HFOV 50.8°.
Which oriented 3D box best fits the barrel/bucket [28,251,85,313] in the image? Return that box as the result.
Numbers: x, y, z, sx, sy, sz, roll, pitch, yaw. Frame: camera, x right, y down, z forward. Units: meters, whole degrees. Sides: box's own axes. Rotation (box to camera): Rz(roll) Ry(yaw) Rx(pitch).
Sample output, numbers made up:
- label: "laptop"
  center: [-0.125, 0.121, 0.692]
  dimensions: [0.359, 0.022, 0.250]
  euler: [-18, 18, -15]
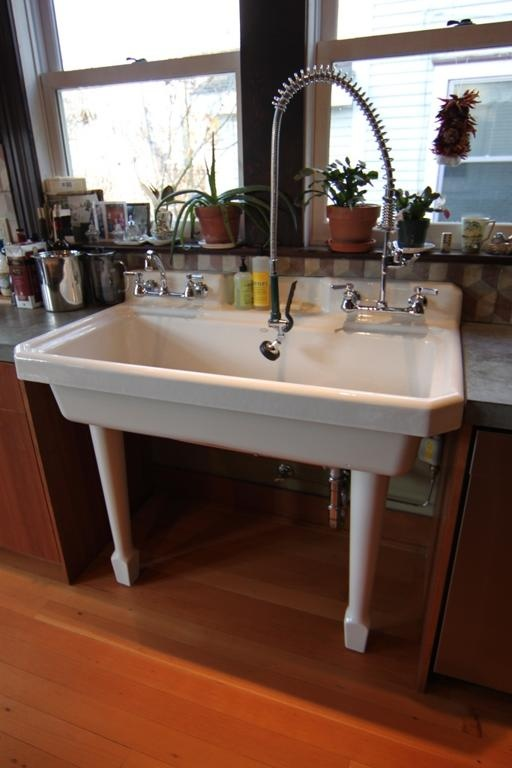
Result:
- label: "barrel/bucket"
  center: [-0.608, -0.319, 1.652]
  dimensions: [0.150, 0.176, 0.108]
  euler: [0, 23, -3]

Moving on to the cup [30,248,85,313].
- label: "cup"
  center: [-0.601, -0.318, 1.632]
  dimensions: [0.104, 0.156, 0.150]
  euler: [10, 25, 28]

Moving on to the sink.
- label: "sink"
  center: [-0.045, -0.030, 1.307]
  dimensions: [1.034, 0.238, 0.514]
  euler: [9, 27, 21]

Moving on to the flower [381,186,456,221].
- label: "flower"
  center: [0.436, -0.481, 1.445]
  dimensions: [0.157, 0.078, 0.169]
  euler: [18, 1, 26]

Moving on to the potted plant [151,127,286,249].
- label: "potted plant"
  center: [-0.103, -0.596, 1.689]
  dimensions: [0.398, 0.273, 0.311]
  euler: [9, 22, 34]

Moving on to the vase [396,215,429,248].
- label: "vase"
  center: [0.422, -0.423, 1.472]
  dimensions: [0.088, 0.070, 0.084]
  euler: [7, 21, 22]

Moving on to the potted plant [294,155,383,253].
- label: "potted plant"
  center: [0.218, -0.504, 1.523]
  dimensions: [0.211, 0.256, 0.288]
  euler: [0, 16, 10]

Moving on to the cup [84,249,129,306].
- label: "cup"
  center: [-0.468, -0.342, 1.699]
  dimensions: [0.144, 0.178, 0.107]
  euler: [6, 29, 13]

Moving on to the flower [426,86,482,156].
- label: "flower"
  center: [0.498, -0.654, 1.361]
  dimensions: [0.094, 0.153, 0.087]
  euler: [3, 25, 11]
